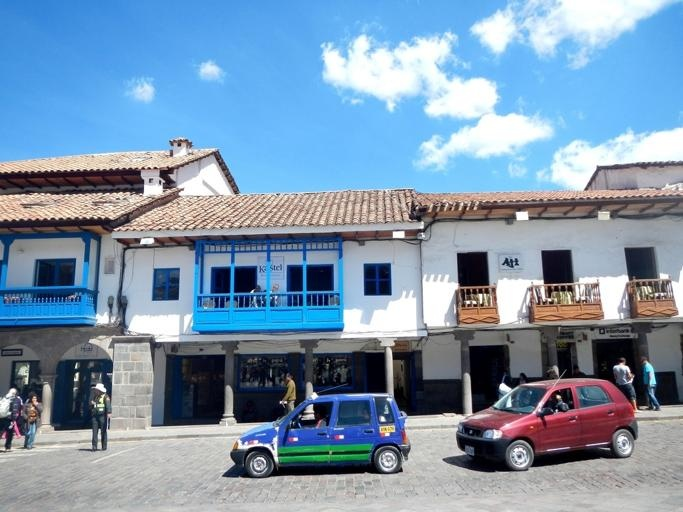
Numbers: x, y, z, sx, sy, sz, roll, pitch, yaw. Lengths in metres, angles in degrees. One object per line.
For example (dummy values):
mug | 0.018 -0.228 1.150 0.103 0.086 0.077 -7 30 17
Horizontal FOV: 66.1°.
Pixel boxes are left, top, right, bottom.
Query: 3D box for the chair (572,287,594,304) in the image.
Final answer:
chair | 9.826 1.722 21.468 0.745 0.933 0.729 -2 -34 13

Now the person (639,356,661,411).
person | 12.105 5.025 20.587 0.416 2.071 1.151 -8 -13 27

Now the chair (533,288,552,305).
chair | 8.166 1.599 21.409 0.844 0.670 0.905 2 20 19

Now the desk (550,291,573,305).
desk | 8.858 1.710 21.157 0.978 0.646 0.492 -1 3 -10

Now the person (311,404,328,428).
person | -0.579 4.425 14.458 0.496 0.706 0.445 -1 -16 15

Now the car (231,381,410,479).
car | -0.431 4.994 14.994 4.181 1.698 2.349 1 -16 1

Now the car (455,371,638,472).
car | 5.833 4.685 15.149 4.214 1.827 2.523 2 -17 -7

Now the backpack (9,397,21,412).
backpack | -11.708 5.335 18.797 0.184 0.522 1.073 2 -13 -20
